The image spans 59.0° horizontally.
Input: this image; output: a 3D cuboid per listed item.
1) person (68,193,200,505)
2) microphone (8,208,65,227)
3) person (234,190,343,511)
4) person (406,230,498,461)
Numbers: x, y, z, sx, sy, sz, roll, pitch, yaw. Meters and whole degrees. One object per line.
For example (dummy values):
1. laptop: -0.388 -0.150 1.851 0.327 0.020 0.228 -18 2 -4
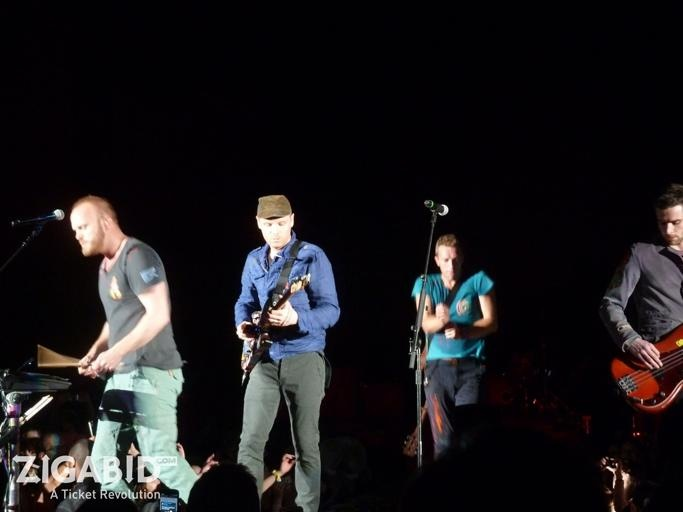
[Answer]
1. person: -1.499 0.624 4.451 0.975 2.229 0.409 1 -9 -5
2. microphone: -2.818 -0.359 5.638 0.500 0.140 0.153 -9 -48 -6
3. person: -0.429 0.655 4.521 0.791 2.361 0.482 -1 -10 8
4. person: 0.983 0.707 5.078 0.605 1.830 0.222 -2 -10 10
